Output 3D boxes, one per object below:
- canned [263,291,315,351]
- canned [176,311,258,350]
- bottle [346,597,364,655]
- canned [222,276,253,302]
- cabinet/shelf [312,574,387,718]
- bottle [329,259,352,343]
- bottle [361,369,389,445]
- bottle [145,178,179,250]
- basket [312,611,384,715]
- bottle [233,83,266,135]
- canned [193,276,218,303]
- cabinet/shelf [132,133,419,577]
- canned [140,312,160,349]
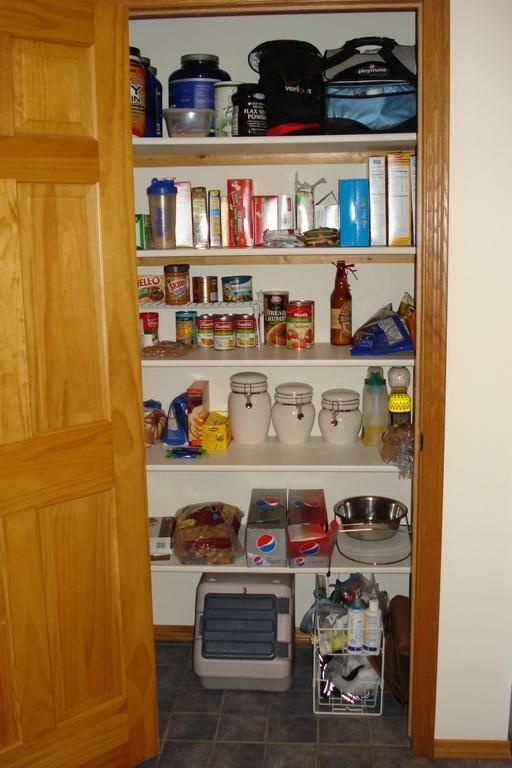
[{"bbox_3d":[0.103,-0.202,2.125,0.188,0.209,0.119,2,7,18],"label":"canned"},{"bbox_3d":[-0.133,-0.181,2.159,0.274,0.136,0.135,-5,10,-3],"label":"canned"},{"bbox_3d":[0.326,0.790,2.114,0.062,0.176,0.043,-3,10,8],"label":"bottle"},{"bbox_3d":[-0.062,-0.314,2.132,0.087,0.069,0.087,2,10,8],"label":"canned"},{"bbox_3d":[0.331,0.884,2.344,0.276,0.377,0.541,-2,-9,6],"label":"cabinet/shelf"},{"bbox_3d":[0.279,-0.265,2.152,0.067,0.283,0.088,-4,10,4],"label":"bottle"},{"bbox_3d":[0.401,0.078,2.178,0.093,0.243,0.099,-5,10,1],"label":"bottle"},{"bbox_3d":[-0.288,-0.538,2.013,0.122,0.203,0.125,0,11,0],"label":"bottle"},{"bbox_3d":[0.312,0.942,2.297,0.257,0.355,0.353,1,0,5],"label":"basket"},{"bbox_3d":[-0.021,-0.784,1.883,0.099,0.153,0.091,-1,7,0],"label":"bottle"},{"bbox_3d":[-0.163,-0.322,2.202,0.088,0.101,0.091,2,8,10],"label":"canned"},{"bbox_3d":[0.045,-0.009,2.169,1.028,1.571,0.564,-4,10,5],"label":"cabinet/shelf"},{"bbox_3d":[-0.361,-0.192,2.193,0.044,0.112,0.072,-1,10,21],"label":"canned"}]
